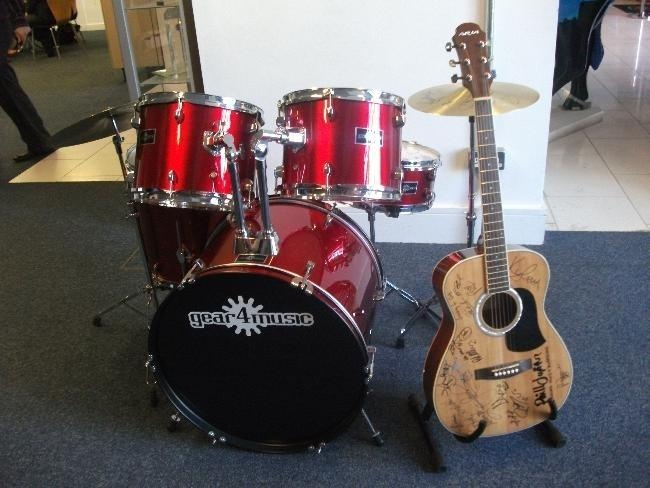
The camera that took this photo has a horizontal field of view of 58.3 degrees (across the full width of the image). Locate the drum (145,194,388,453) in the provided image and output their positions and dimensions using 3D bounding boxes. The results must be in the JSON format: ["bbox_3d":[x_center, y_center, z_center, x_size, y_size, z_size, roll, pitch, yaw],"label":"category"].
[{"bbox_3d":[-0.074,0.275,2.432,1.036,1.054,0.833,6,20,9],"label":"drum"}]

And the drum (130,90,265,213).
[{"bbox_3d":[-0.502,-0.334,2.331,0.451,0.352,0.467,6,-11,1],"label":"drum"}]

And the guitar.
[{"bbox_3d":[0.569,0.042,2.120,0.535,1.197,0.677,-12,32,-12],"label":"guitar"}]

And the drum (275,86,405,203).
[{"bbox_3d":[0.076,-0.364,2.355,0.436,0.335,0.446,3,-3,0],"label":"drum"}]
